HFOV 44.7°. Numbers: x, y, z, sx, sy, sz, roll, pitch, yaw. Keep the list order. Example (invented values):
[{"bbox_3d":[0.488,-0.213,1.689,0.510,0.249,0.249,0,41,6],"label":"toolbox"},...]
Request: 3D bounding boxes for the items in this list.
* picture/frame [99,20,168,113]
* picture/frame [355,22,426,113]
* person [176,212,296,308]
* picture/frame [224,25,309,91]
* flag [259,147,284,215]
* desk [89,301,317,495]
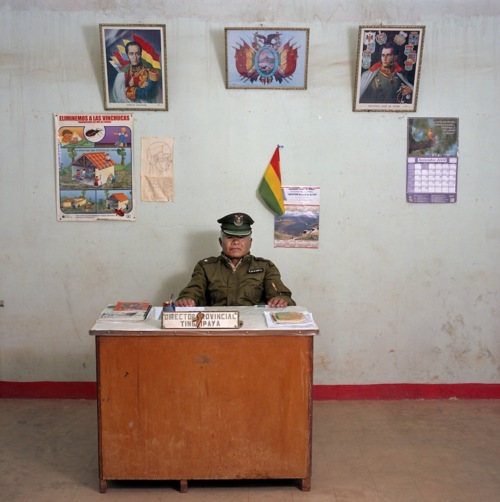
[{"bbox_3d":[-0.855,-1.389,4.492,0.567,0.764,0.050,2,23,3],"label":"picture/frame"},{"bbox_3d":[1.028,-1.388,4.508,0.584,0.813,0.030,-1,20,-3],"label":"picture/frame"},{"bbox_3d":[-0.109,0.140,4.430,0.774,0.803,0.554,1,6,-1],"label":"person"},{"bbox_3d":[0.123,-1.447,4.501,0.432,0.340,0.019,2,29,3],"label":"picture/frame"},{"bbox_3d":[0.186,-0.564,4.670,0.206,0.040,0.616,12,58,-1],"label":"flag"},{"bbox_3d":[-0.264,0.920,3.810,1.243,0.984,0.779,0,3,1],"label":"desk"}]
